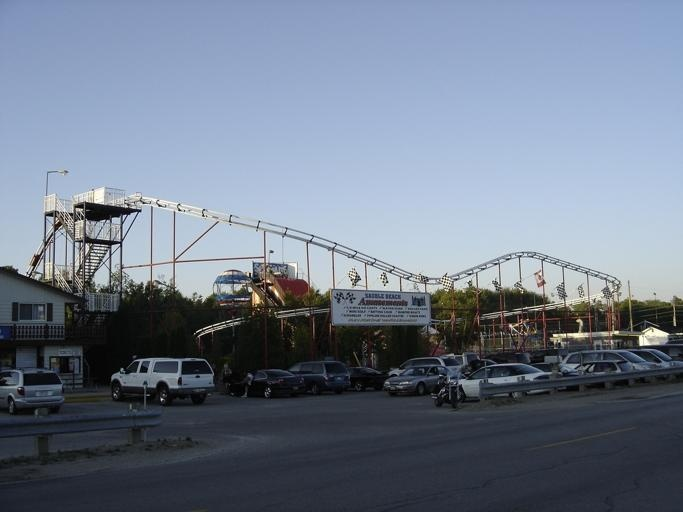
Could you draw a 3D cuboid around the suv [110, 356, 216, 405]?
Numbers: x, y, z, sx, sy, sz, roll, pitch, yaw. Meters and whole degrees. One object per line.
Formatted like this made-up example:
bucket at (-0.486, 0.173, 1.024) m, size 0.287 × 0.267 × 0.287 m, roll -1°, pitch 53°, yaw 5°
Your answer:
suv at (-8.823, 5.908, 35.635) m, size 5.672 × 2.168 × 2.513 m, roll -8°, pitch -12°, yaw 35°
